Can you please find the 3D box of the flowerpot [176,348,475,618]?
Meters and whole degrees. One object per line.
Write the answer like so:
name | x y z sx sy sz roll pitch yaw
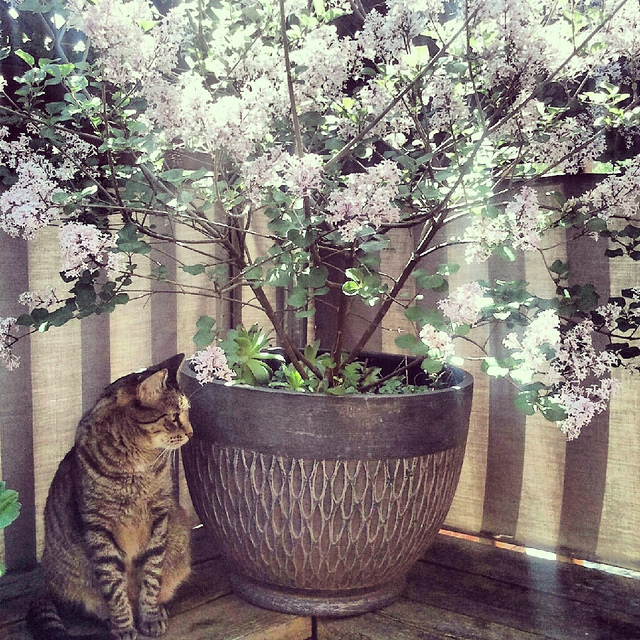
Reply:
flowerpot | 0.047 0.458 1.924 0.904 0.603 0.853 -1 3 13
